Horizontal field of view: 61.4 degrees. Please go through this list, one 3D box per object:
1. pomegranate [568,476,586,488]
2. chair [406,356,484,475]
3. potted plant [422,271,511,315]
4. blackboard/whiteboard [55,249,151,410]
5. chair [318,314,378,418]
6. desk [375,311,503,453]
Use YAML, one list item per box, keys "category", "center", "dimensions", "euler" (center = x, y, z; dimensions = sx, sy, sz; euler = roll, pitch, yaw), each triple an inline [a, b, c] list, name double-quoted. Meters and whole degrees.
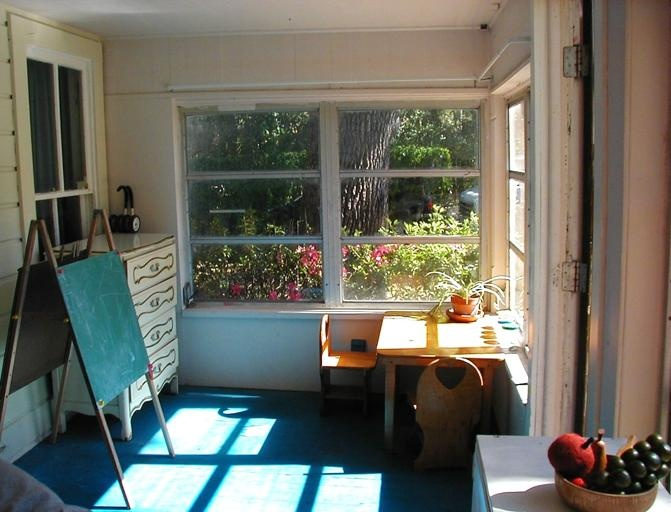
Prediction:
- category: "pomegranate"
  center: [0.790, 0.735, 1.834]
  dimensions: [0.030, 0.027, 0.024]
  euler: [1, -2, 2]
- category: "chair"
  center: [0.691, 1.001, 3.681]
  dimensions: [0.388, 0.745, 0.415]
  euler: [3, 9, -1]
- category: "potted plant"
  center: [1.058, 0.273, 4.419]
  dimensions: [0.513, 0.298, 0.552]
  euler: [-5, 14, -16]
- category: "blackboard/whiteboard"
  center: [-1.463, 0.455, 3.489]
  dimensions: [0.074, 1.091, 0.896]
  euler: [-13, 8, 12]
- category: "chair"
  center: [0.102, 0.793, 4.318]
  dimensions: [0.418, 0.735, 0.513]
  euler: [0, 12, 4]
- category: "desk"
  center: [0.702, 0.904, 4.193]
  dimensions: [0.843, 0.716, 1.360]
  euler: [1, 6, 1]
